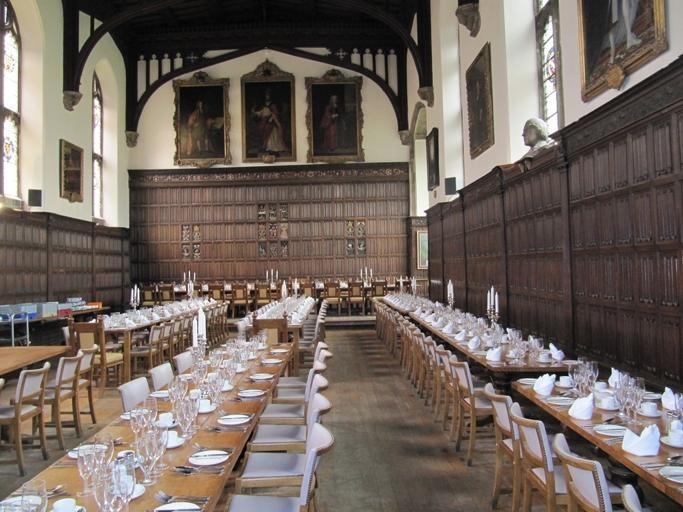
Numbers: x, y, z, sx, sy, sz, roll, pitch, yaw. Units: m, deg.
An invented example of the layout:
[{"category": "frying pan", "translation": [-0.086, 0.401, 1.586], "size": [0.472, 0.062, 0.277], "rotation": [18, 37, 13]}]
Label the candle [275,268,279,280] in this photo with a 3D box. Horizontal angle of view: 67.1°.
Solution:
[{"category": "candle", "translation": [-2.615, 0.732, 20.727], "size": [0.135, 0.394, 0.170], "rotation": [0, 3, -9]}]

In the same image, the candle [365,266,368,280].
[{"category": "candle", "translation": [0.992, 0.694, 20.808], "size": [0.089, 0.534, 0.064], "rotation": [1, 3, 5]}]

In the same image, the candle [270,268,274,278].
[{"category": "candle", "translation": [-2.776, 0.718, 20.722], "size": [0.134, 0.366, 0.167], "rotation": [0, 3, -9]}]

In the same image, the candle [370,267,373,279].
[{"category": "candle", "translation": [1.179, 0.680, 20.745], "size": [0.139, 0.346, 0.125], "rotation": [1, 3, 3]}]

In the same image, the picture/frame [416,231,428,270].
[{"category": "picture/frame", "translation": [3.177, -0.232, 20.433], "size": [0.353, 1.557, 0.359], "rotation": [0, 3, -5]}]

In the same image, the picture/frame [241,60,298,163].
[{"category": "picture/frame", "translation": [-2.950, -5.741, 20.685], "size": [2.171, 3.985, 0.295], "rotation": [1, 3, 1]}]

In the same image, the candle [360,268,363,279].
[{"category": "candle", "translation": [0.790, 0.707, 20.789], "size": [0.111, 0.398, 0.103], "rotation": [1, 3, 1]}]
